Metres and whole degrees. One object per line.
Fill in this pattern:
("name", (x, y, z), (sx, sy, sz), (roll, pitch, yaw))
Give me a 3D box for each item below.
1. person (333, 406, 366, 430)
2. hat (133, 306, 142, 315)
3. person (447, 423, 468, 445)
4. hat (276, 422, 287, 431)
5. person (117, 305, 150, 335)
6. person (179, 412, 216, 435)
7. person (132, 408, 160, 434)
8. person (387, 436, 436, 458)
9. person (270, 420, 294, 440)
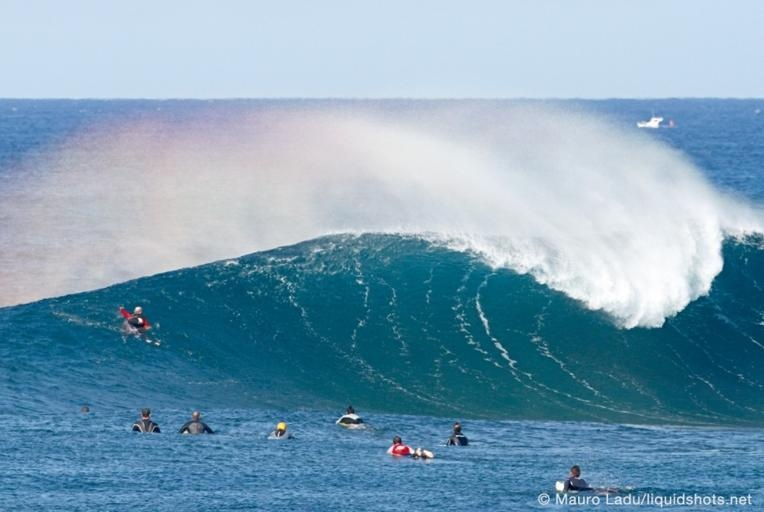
("person", (-1.204, 6.495, 43.874), (0.806, 0.507, 1.070), (1, 11, -9))
("hat", (-10.708, 2.463, 48.282), (0.398, 0.359, 0.335), (6, -4, -4))
("person", (3.003, 6.993, 42.606), (0.818, 0.725, 0.831), (4, 14, 4))
("hat", (-3.823, 6.617, 42.044), (0.314, 0.353, 0.221), (11, 1, -17))
("person", (-10.842, 2.906, 48.230), (1.126, 1.213, 0.386), (-3, -11, -9))
("person", (-7.002, 6.378, 41.483), (1.284, 0.854, 0.626), (0, 15, -11))
("person", (-8.826, 6.267, 41.203), (1.038, 0.818, 0.879), (11, 16, 30))
("person", (0.969, 7.284, 41.485), (0.871, 0.498, 1.254), (3, -3, -22))
("person", (-3.856, 6.697, 42.182), (0.881, 0.491, 1.184), (2, 14, -5))
